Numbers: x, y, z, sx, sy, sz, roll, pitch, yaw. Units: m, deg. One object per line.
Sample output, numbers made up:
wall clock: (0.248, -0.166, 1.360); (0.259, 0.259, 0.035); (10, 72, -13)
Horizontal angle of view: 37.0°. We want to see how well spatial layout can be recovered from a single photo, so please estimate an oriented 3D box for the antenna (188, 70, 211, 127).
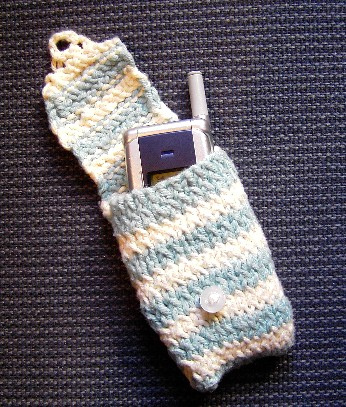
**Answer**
antenna: (0.034, -0.140, 0.675); (0.023, 0.033, 0.071); (-7, 79, 2)
